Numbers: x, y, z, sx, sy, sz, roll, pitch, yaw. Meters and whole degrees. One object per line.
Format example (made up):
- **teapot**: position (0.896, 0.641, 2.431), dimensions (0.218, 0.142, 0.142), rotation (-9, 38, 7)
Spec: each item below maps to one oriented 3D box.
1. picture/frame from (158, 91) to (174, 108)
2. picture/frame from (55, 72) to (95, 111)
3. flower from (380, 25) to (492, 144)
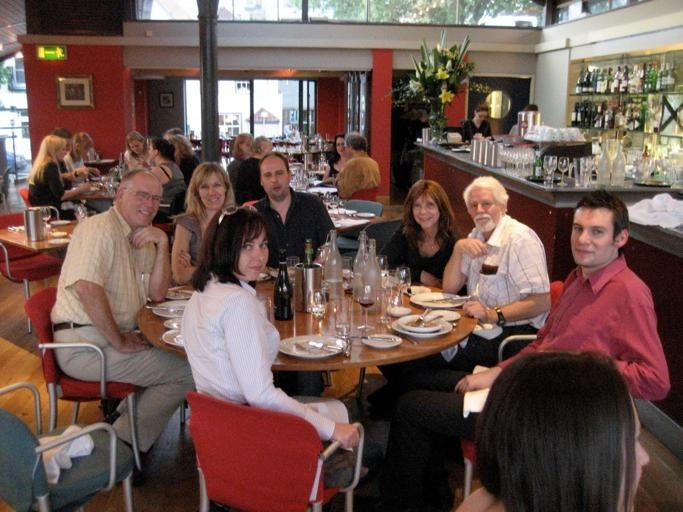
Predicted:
- **picture/frame**: position (-5.073, -4.564, 15.128), dimensions (0.431, 0.512, 0.038), rotation (1, 10, -11)
- **picture/frame**: position (-5.388, -3.363, 10.573), dimensions (0.720, 0.780, 0.061), rotation (0, 6, -10)
- **flower**: position (1.372, -2.282, 7.059), dimensions (1.045, 1.069, 0.672), rotation (-16, 35, -35)
